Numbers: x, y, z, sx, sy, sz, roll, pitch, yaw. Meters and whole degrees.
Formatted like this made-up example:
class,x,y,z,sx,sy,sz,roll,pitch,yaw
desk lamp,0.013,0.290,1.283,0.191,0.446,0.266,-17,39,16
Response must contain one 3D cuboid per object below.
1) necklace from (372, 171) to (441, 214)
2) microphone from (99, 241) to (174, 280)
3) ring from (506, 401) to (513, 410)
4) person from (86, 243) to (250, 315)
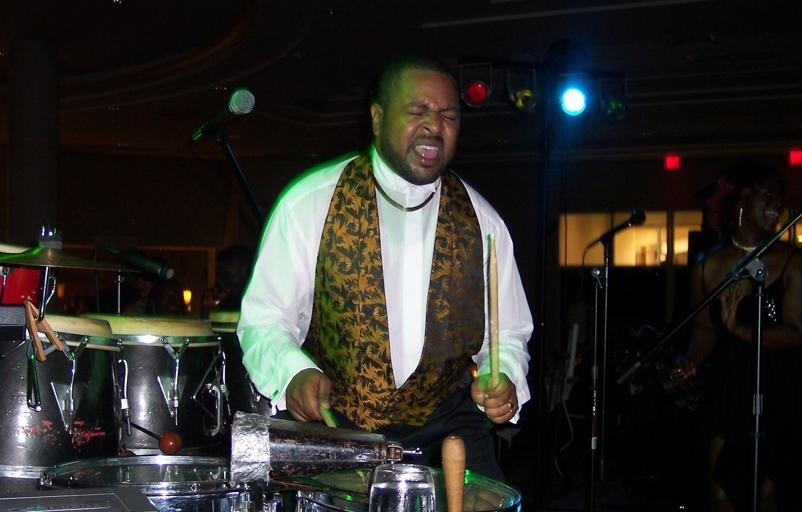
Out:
class,x,y,z,sx,sy,sz,roll,pitch,yaw
necklace,-0.024,-0.382,4.498,0.242,0.239,0.058,3,10,-1
microphone,-3.036,0.047,8.616,1.258,0.220,0.271,20,38,36
ring,0.597,0.826,4.160,0.030,0.042,0.021,-4,-3,-16
person,-2.752,0.400,9.276,1.959,0.717,1.439,1,0,-18
